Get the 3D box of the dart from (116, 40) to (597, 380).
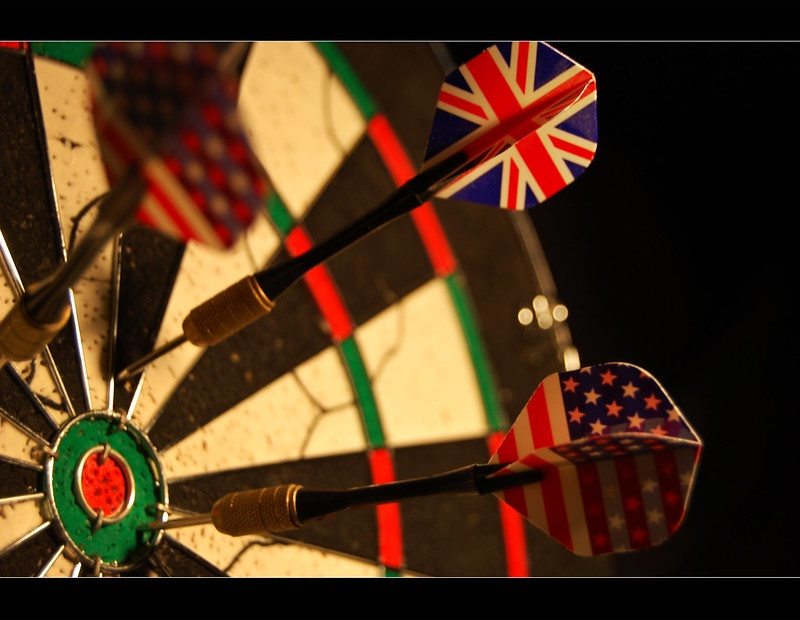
[{"bbox_3d":[-0.114,-0.104,1.461,1.009,0.118,0.364,-33,49,-5],"label":"dart"}]
